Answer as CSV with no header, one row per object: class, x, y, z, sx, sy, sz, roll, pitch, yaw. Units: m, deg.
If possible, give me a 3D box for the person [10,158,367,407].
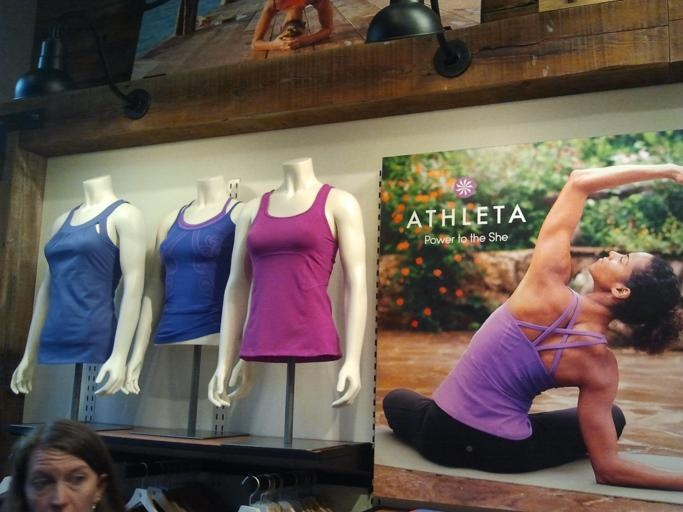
person,-0.737,0.171,3.951,1.447,0.960,0.248,-5,-22,26
